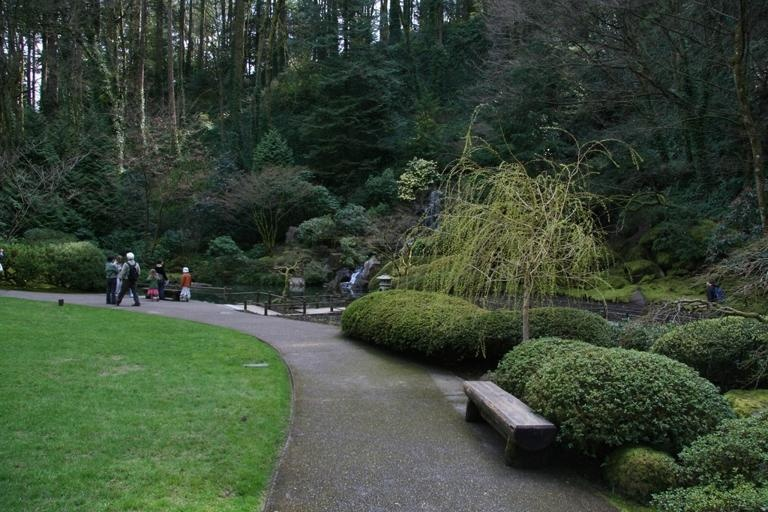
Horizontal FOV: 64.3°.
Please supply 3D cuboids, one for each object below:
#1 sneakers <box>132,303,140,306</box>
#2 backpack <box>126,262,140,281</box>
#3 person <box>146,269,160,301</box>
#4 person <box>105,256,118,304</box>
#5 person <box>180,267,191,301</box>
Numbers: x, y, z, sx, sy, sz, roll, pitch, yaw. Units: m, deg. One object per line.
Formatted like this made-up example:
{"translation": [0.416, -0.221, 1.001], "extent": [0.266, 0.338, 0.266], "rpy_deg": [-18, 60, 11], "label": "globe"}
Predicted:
{"translation": [-8.100, 1.558, 19.967], "extent": [0.240, 0.101, 0.344], "rpy_deg": [1, 2, -30], "label": "sneakers"}
{"translation": [-8.295, 0.504, 20.194], "extent": [0.553, 0.613, 0.421], "rpy_deg": [-3, -2, 9], "label": "backpack"}
{"translation": [-8.718, 1.035, 23.100], "extent": [0.457, 1.155, 0.928], "rpy_deg": [1, 2, -21], "label": "person"}
{"translation": [-9.000, 0.775, 20.232], "extent": [0.368, 1.472, 1.054], "rpy_deg": [1, 3, -24], "label": "person"}
{"translation": [-7.948, 1.070, 24.329], "extent": [0.380, 1.285, 2.496], "rpy_deg": [1, 2, -19], "label": "person"}
